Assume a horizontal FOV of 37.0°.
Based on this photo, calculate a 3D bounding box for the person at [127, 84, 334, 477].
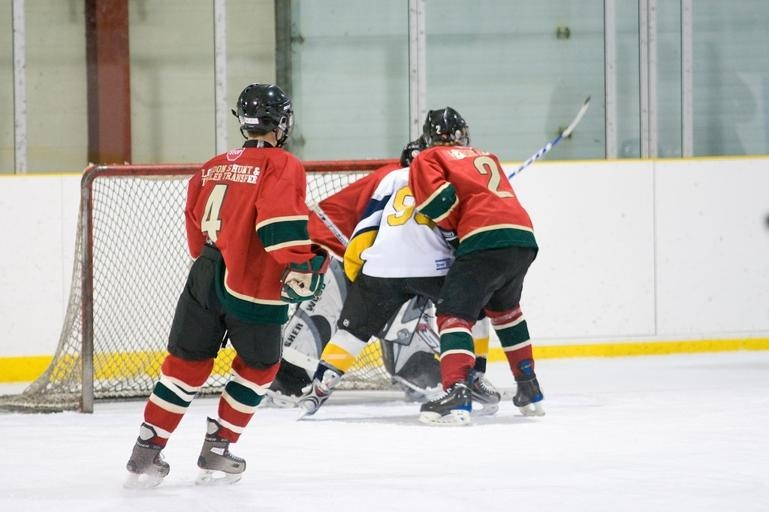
[{"bbox_3d":[-0.842,0.314,6.360,1.052,1.777,0.512,-1,13,-4],"label":"person"}]

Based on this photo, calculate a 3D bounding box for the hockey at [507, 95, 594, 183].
[{"bbox_3d":[1.304,-0.908,9.021,0.218,0.148,1.426,9,-31,-23],"label":"hockey"}]

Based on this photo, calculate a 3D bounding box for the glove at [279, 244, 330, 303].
[{"bbox_3d":[-0.439,0.134,6.298,0.239,0.322,0.140,20,12,-14],"label":"glove"}]

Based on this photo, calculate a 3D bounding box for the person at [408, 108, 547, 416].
[{"bbox_3d":[0.546,0.068,7.184,0.817,1.852,0.806,-4,14,-15],"label":"person"}]

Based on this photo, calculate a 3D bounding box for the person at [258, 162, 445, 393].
[{"bbox_3d":[-0.190,0.149,7.057,1.512,1.637,0.938,2,3,-7],"label":"person"}]
